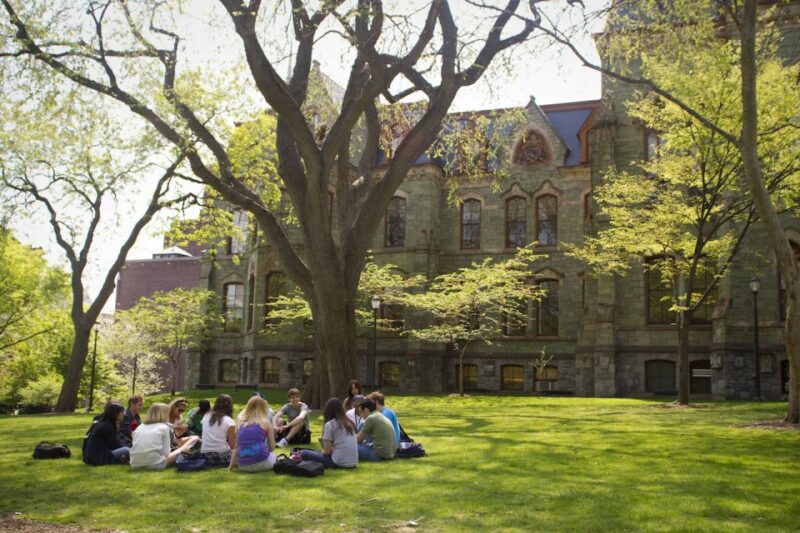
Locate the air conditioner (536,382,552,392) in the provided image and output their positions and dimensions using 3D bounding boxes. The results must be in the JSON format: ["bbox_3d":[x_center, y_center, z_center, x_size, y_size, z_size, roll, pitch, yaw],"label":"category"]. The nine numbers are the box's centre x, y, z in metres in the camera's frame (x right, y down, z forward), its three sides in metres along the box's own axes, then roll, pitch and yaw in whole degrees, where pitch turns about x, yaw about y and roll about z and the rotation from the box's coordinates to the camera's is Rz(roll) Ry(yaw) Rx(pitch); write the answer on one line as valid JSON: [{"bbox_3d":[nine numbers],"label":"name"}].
[{"bbox_3d":[8.526,7.139,38.141,1.060,0.587,0.545,-1,-1,4],"label":"air conditioner"}]

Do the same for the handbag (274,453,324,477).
[{"bbox_3d":[-2.043,4.031,12.963,0.587,0.183,0.447,-1,-8,25],"label":"handbag"}]

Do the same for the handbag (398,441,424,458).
[{"bbox_3d":[0.269,4.189,14.628,0.730,0.324,0.295,5,-13,-23],"label":"handbag"}]

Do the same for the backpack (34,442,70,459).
[{"bbox_3d":[-7.858,4.178,14.522,0.607,0.203,0.431,5,-7,-10],"label":"backpack"}]

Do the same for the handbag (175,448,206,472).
[{"bbox_3d":[-4.352,4.076,13.421,0.574,0.352,0.628,7,-14,-32],"label":"handbag"}]
